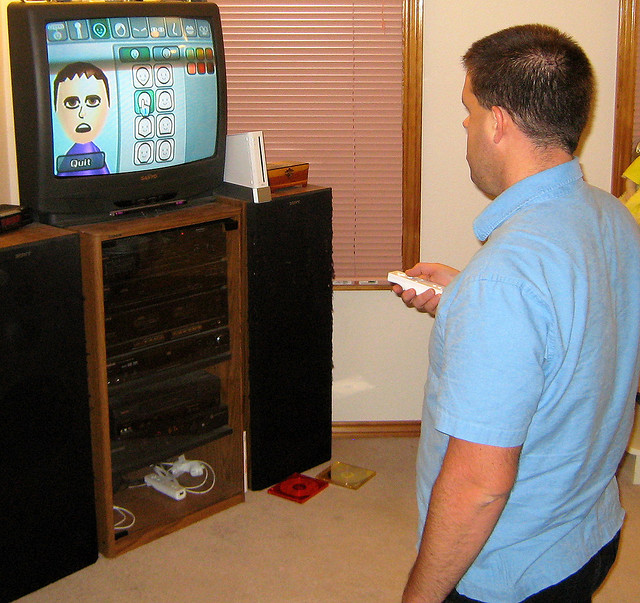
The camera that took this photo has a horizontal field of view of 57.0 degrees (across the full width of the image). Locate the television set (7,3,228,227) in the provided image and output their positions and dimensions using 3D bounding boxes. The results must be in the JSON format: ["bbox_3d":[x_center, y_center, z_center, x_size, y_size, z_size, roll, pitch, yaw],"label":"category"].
[{"bbox_3d":[-0.720,-0.670,2.069,0.444,0.668,0.815,24,32,38],"label":"television set"}]

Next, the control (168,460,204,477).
[{"bbox_3d":[-0.621,0.777,2.747,0.099,0.034,0.098,24,40,32],"label":"control"}]
